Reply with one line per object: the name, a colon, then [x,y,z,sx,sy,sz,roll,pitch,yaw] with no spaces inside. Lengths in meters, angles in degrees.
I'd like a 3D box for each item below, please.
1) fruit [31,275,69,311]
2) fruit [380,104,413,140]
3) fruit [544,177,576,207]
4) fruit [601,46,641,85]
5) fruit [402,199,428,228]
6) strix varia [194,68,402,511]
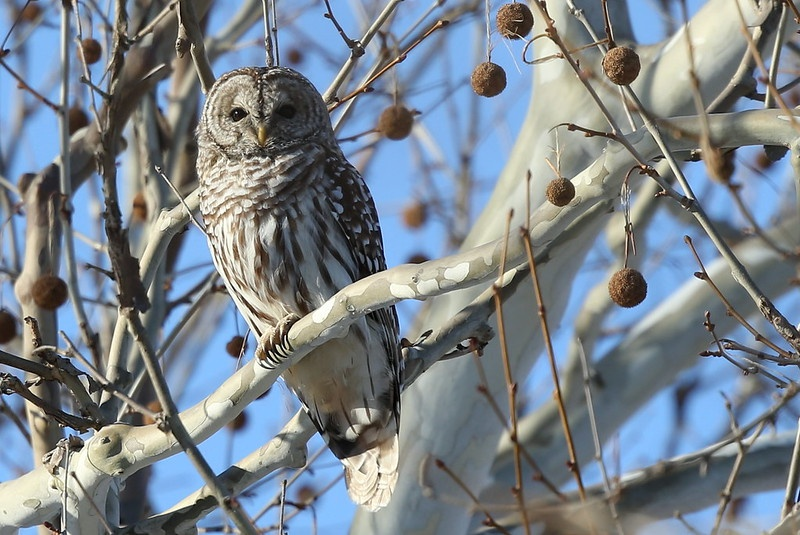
fruit: [-1.927,0.137,8.253,0.177,0.214,0.188,-5,16,3]
fruit: [-0.003,-0.884,8.907,0.204,0.252,0.218,6,13,15]
fruit: [0.810,-0.377,7.506,0.128,0.156,0.144,0,1,5]
fruit: [1.123,-1.025,7.600,0.175,0.219,0.188,5,-15,-3]
fruit: [0.098,-0.406,10.652,0.175,0.160,0.498,-20,-11,-1]
strix varia: [-0.545,0.112,8.304,0.899,2.251,1.943,-15,-47,6]
